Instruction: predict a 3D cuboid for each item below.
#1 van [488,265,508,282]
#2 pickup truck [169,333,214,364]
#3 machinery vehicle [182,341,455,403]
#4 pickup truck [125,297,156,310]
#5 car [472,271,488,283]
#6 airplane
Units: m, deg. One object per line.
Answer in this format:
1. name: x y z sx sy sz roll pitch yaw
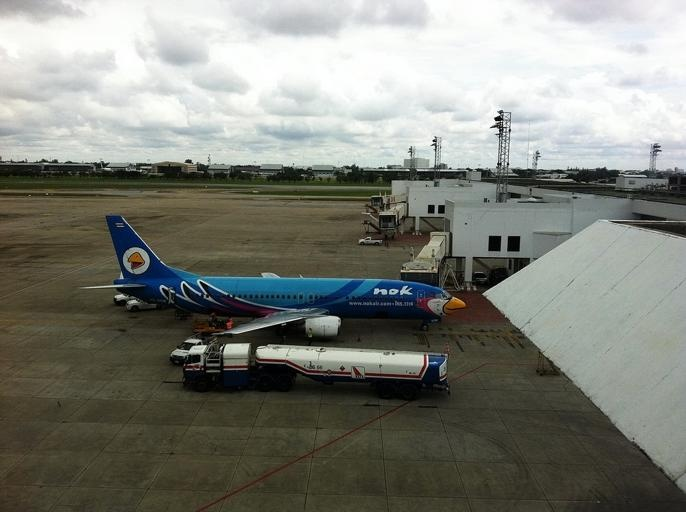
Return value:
1. van: 18.215 2.198 65.226 1.798 1.159 2.305 -1 4 6
2. pickup truck: -11.329 6.853 42.028 1.787 0.982 3.346 0 7 12
3. machinery vehicle: 1.446 7.405 37.414 23.381 3.319 5.173 1 6 7
4. pickup truck: -19.198 4.749 52.488 3.263 1.139 1.825 2 2 -14
5. car: 15.980 2.478 64.227 1.199 1.266 2.513 11 18 43
6. airplane: -6.290 2.925 47.637 21.238 5.187 14.886 0 11 0
